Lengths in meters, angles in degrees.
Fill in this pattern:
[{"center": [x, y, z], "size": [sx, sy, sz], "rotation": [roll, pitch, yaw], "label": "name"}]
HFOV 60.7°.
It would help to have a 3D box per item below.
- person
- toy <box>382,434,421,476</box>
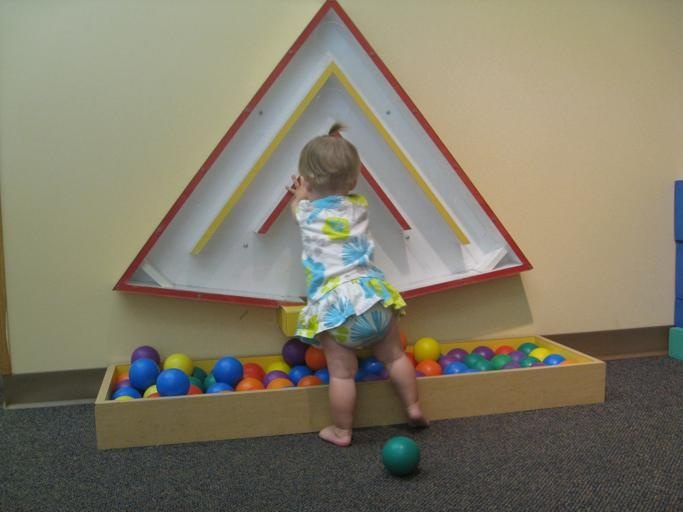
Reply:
[{"center": [0.051, 0.103, 2.417], "size": [0.492, 1.150, 0.280], "rotation": [-6, -2, 7], "label": "person"}, {"center": [0.226, 0.750, 2.171], "size": [0.134, 0.173, 0.134], "rotation": [-9, -31, 23], "label": "toy"}]
